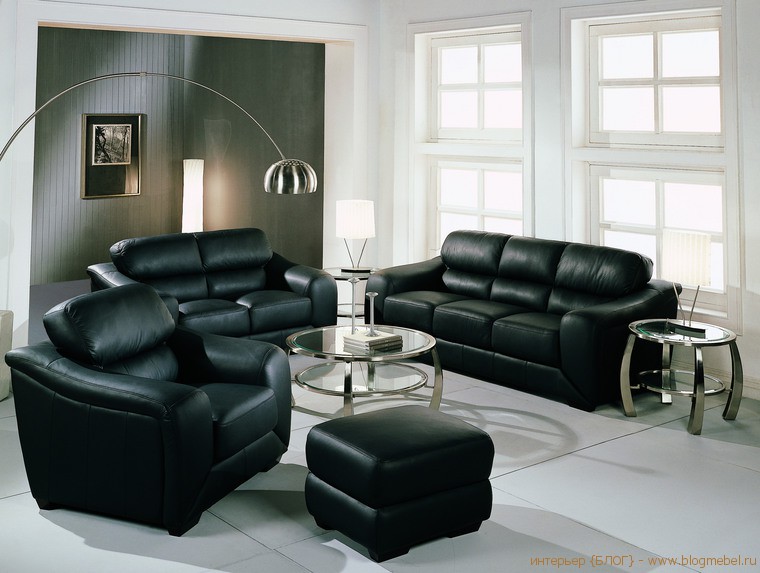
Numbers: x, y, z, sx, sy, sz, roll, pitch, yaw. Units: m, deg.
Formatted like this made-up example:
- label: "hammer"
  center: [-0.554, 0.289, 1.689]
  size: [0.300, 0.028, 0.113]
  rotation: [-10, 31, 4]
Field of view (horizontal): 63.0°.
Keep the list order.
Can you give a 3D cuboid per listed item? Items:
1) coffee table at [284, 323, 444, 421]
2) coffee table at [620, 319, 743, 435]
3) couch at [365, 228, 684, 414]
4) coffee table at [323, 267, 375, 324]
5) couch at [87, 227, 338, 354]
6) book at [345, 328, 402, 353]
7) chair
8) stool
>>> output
- label: "coffee table"
  center: [-0.125, 0.692, 4.549]
  size: [0.978, 0.423, 0.950]
  rotation: [-11, -4, 15]
- label: "coffee table"
  center: [2.069, 0.600, 4.257]
  size: [0.674, 0.562, 0.676]
  rotation: [0, 6, 2]
- label: "couch"
  center: [1.090, 0.176, 5.336]
  size: [1.100, 1.055, 2.494]
  rotation: [-9, 13, -34]
- label: "coffee table"
  center: [-0.294, 0.066, 6.265]
  size: [0.594, 0.626, 0.575]
  rotation: [-1, 2, -14]
- label: "couch"
  center: [-1.464, 0.091, 5.536]
  size: [1.095, 1.011, 1.901]
  rotation: [10, 13, 40]
- label: "book"
  center: [-0.050, 0.348, 4.204]
  size: [0.396, 0.089, 0.360]
  rotation: [0, 12, -1]
- label: "chair"
  center: [-1.147, 0.513, 3.433]
  size: [1.311, 1.124, 1.318]
  rotation: [3, 8, 21]
- label: "stool"
  center: [0.065, 0.910, 3.029]
  size: [0.779, 0.471, 0.710]
  rotation: [1, 2, -35]
